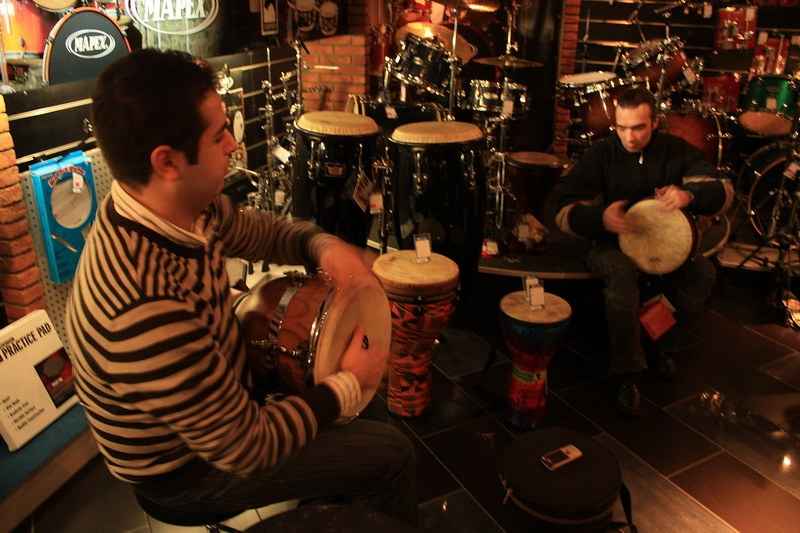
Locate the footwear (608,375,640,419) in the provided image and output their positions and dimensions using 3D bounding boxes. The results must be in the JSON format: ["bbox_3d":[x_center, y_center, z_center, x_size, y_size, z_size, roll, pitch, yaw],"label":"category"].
[{"bbox_3d":[1.412,0.798,3.488,0.135,0.121,0.287,-5,26,2],"label":"footwear"}]

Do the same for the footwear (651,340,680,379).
[{"bbox_3d":[1.795,0.615,3.840,0.108,0.139,0.334,-13,37,5],"label":"footwear"}]

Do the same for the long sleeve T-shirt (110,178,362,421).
[{"bbox_3d":[-0.554,0.181,2.101,0.848,0.569,0.844,0,44,-15],"label":"long sleeve T-shirt"}]

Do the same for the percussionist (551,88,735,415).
[{"bbox_3d":[1.548,-0.401,3.687,1.287,2.274,0.979,-5,22,-14],"label":"percussionist"}]

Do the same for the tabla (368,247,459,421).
[{"bbox_3d":[0.097,0.374,3.496,0.584,0.905,0.612,-14,24,-35],"label":"tabla"}]
